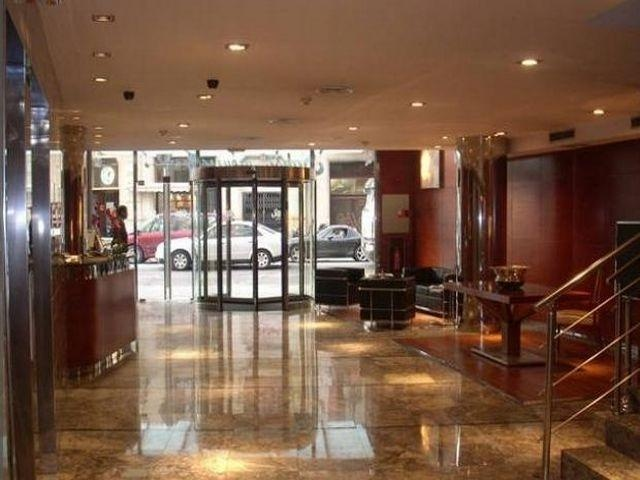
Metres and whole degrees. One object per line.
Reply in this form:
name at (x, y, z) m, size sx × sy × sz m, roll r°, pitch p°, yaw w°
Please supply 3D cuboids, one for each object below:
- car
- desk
car at (-1.465, 0.070, 13.805) m, size 5.607 × 1.402 × 3.121 m, roll -1°, pitch 4°, yaw -17°
desk at (2.499, 1.113, 8.043) m, size 0.994 × 0.990 × 1.406 m, roll -1°, pitch 4°, yaw -13°
